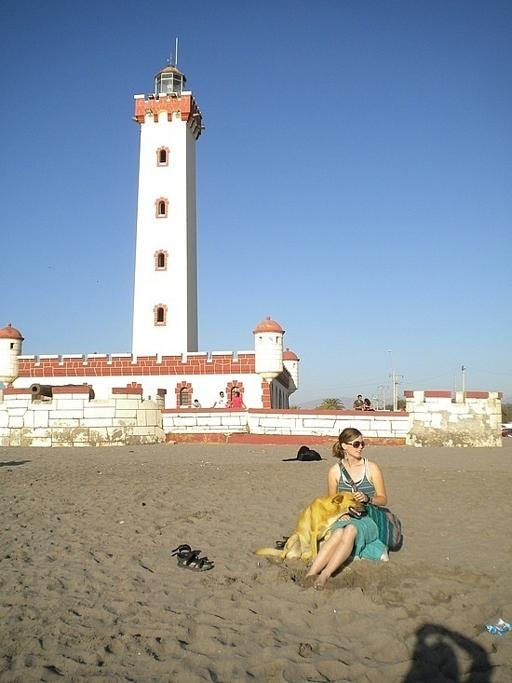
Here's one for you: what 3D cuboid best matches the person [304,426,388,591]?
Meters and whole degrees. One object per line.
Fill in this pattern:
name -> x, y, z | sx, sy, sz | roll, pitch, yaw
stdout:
person -> 0.876, 1.472, 5.676 | 0.704, 1.266, 1.160 | 0, -5, 14

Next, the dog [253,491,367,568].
dog -> 0.538, 1.804, 5.835 | 0.939, 0.629, 0.642 | 2, 3, 43

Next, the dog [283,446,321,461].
dog -> 0.958, 2.599, 13.689 | 0.964, 0.347, 0.341 | 3, 0, -3
